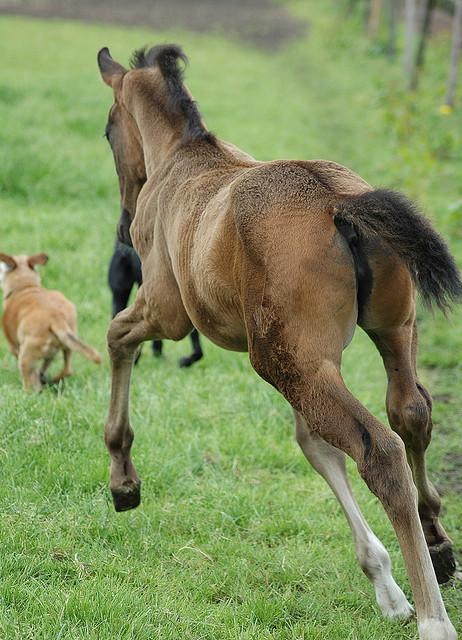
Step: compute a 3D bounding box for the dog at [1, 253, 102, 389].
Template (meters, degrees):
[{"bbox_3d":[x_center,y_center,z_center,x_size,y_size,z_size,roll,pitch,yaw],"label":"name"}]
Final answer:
[{"bbox_3d":[-1.243,0.158,5.216,0.544,0.898,1.233,-7,31,-16],"label":"dog"}]
